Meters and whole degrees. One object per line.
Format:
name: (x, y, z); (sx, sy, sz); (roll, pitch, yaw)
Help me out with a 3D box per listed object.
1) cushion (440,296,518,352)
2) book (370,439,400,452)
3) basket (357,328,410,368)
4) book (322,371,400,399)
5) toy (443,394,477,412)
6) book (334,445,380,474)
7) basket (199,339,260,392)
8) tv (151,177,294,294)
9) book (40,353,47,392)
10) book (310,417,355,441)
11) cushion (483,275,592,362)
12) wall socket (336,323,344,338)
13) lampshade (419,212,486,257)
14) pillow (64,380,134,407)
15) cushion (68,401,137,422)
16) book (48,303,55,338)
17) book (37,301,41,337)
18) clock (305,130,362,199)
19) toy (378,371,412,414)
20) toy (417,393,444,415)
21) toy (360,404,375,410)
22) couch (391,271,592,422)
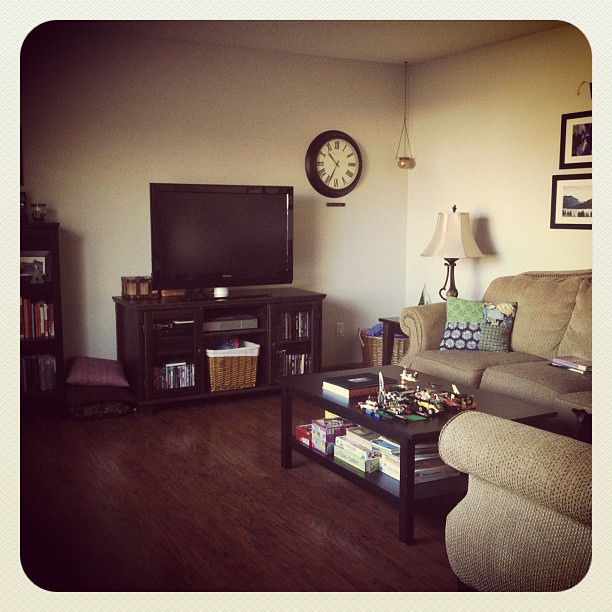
cushion: (1.053, 0.117, 3.324); (0.347, 0.349, 0.108); (5, -18, 27)
book: (0.306, 0.554, 2.138); (0.058, 0.019, 0.127); (-4, 8, -34)
basket: (0.575, 0.322, 4.115); (0.246, 0.250, 0.284); (0, -1, -40)
book: (0.261, 0.338, 2.420); (0.340, 0.067, 0.262); (-6, 8, -41)
toy: (0.600, 0.368, 2.125); (0.088, 0.036, 0.073); (-5, 11, -26)
book: (0.198, 0.624, 2.212); (0.067, 0.051, 0.230); (-5, 8, -37)
basket: (-0.500, 0.403, 3.511); (0.334, 0.273, 0.249); (1, -1, -30)
tv: (-0.583, -0.476, 3.636); (0.791, 0.614, 0.085); (-1, 5, -28)
book: (-1.621, 0.418, 3.350); (0.032, 0.219, 0.045); (-3, 7, -27)
book: (0.096, 0.532, 2.405); (0.110, 0.073, 0.111); (2, 2, -31)
cushion: (1.364, 0.074, 3.231); (0.117, 0.486, 0.479); (10, -1, -28)
wall socket: (0.283, 0.205, 4.529); (0.076, 0.125, 0.016); (-5, 8, -35)
lampshade: (1.059, -0.490, 3.921); (0.454, 0.415, 0.472); (-1, 7, -15)
pillow: (-1.270, 0.539, 3.269); (0.214, 0.058, 0.207); (5, 19, -33)
cushion: (-1.209, 0.622, 3.257); (0.381, 0.093, 0.130); (-4, 8, -32)
book: (-1.561, 0.090, 3.324); (0.036, 0.207, 0.078); (-5, 8, -37)
book: (-1.636, 0.083, 3.321); (0.016, 0.204, 0.035); (-2, 7, -18)
clock: (0.221, -1.130, 4.324); (0.486, 0.515, 0.110); (-4, 8, -33)
toy: (0.359, 0.359, 2.207); (0.073, 0.123, 0.127); (-5, 9, -23)
toy: (0.471, 0.377, 2.076); (0.050, 0.045, 0.089); (-3, 10, -27)
toy: (0.237, 0.394, 2.110); (0.017, 0.019, 0.067); (3, 3, -35)
couch: (1.196, 0.126, 3.142); (0.870, 0.594, 1.331); (-4, 7, -31)
